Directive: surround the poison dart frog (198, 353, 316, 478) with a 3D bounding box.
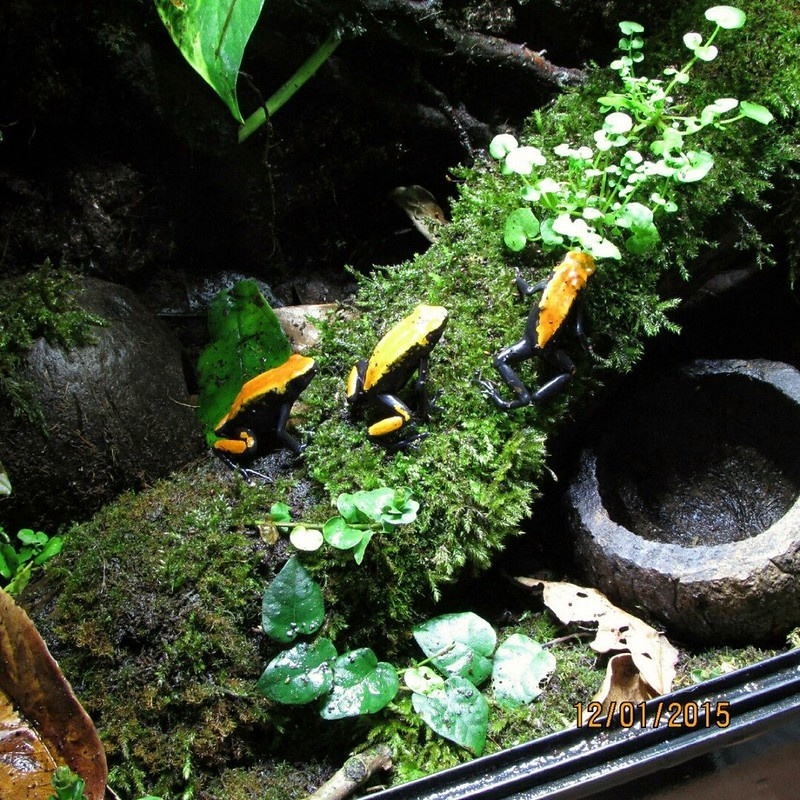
[{"bbox_3d":[-0.531,0.015,3.478,0.457,0.328,0.443,-16,29,-18],"label":"poison dart frog"}]

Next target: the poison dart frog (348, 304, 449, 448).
[{"bbox_3d":[-0.028,-0.115,3.354,0.409,0.333,0.445,2,48,15],"label":"poison dart frog"}]
